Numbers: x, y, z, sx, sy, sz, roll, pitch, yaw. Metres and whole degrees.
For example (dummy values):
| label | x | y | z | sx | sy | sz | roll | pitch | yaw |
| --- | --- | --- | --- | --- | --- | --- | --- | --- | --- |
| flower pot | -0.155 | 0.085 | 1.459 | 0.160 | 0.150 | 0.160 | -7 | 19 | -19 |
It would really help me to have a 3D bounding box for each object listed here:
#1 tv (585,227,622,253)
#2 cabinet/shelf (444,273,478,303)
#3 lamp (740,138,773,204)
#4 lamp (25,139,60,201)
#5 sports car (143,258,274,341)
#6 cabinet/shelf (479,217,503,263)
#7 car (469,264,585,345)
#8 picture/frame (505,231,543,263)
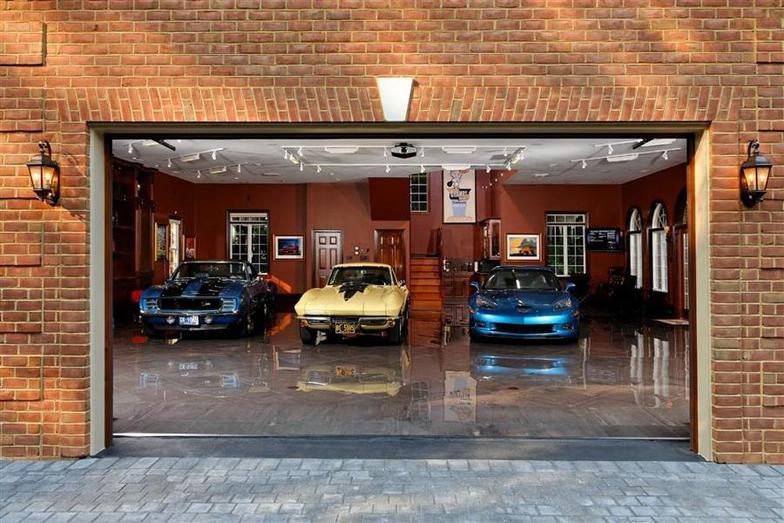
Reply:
| label | x | y | z | sx | sy | sz | roll | pitch | yaw |
| --- | --- | --- | --- | --- | --- | --- | --- | --- | --- |
| tv | 6.905 | -0.720 | 18.487 | 1.200 | 0.587 | 0.138 | 1 | 2 | 11 |
| cabinet/shelf | 2.322 | 0.901 | 19.293 | 1.397 | 0.895 | 0.623 | 0 | -6 | 3 |
| lamp | 3.395 | -0.817 | 5.325 | 0.263 | 0.628 | 0.271 | 5 | 12 | 28 |
| lamp | -3.262 | -0.775 | 5.355 | 0.250 | 0.499 | 0.162 | -5 | 12 | -23 |
| sports car | -3.660 | 0.793 | 11.095 | 1.888 | 1.532 | 1.846 | 0 | 9 | 3 |
| cabinet/shelf | 3.525 | -0.761 | 20.271 | 0.743 | 1.502 | 2.117 | 1 | -2 | 2 |
| car | 2.495 | 0.826 | 10.505 | 1.787 | 0.743 | 2.723 | -1 | -4 | 9 |
| picture/frame | 4.288 | -0.478 | 18.572 | 1.469 | 0.747 | 0.085 | 0 | -3 | -1 |
